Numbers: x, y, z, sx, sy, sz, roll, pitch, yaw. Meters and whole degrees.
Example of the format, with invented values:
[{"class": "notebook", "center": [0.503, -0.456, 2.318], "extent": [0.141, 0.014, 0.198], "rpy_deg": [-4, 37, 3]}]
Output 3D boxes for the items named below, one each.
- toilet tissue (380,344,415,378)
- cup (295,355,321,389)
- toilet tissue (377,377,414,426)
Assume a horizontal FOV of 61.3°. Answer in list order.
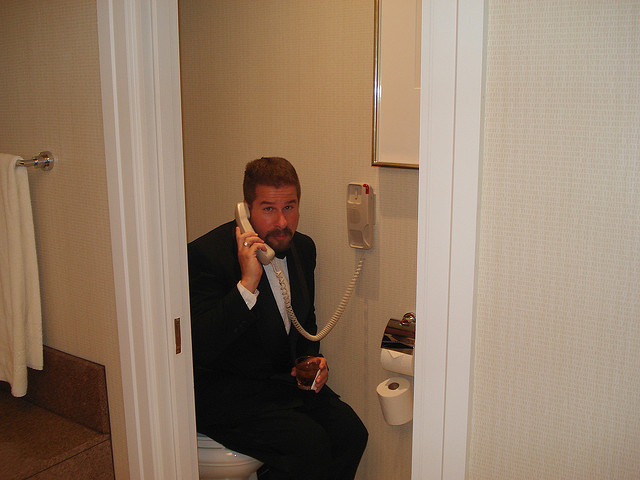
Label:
[{"class": "toilet tissue", "center": [0.332, 0.499, 2.312], "extent": [0.144, 0.137, 0.110], "rpy_deg": [7, -8, 29]}, {"class": "cup", "center": [-0.055, 0.581, 2.431], "extent": [0.106, 0.124, 0.176], "rpy_deg": [2, 14, 2]}, {"class": "toilet tissue", "center": [0.311, 0.686, 2.299], "extent": [0.145, 0.160, 0.164], "rpy_deg": [3, 14, 7]}]
